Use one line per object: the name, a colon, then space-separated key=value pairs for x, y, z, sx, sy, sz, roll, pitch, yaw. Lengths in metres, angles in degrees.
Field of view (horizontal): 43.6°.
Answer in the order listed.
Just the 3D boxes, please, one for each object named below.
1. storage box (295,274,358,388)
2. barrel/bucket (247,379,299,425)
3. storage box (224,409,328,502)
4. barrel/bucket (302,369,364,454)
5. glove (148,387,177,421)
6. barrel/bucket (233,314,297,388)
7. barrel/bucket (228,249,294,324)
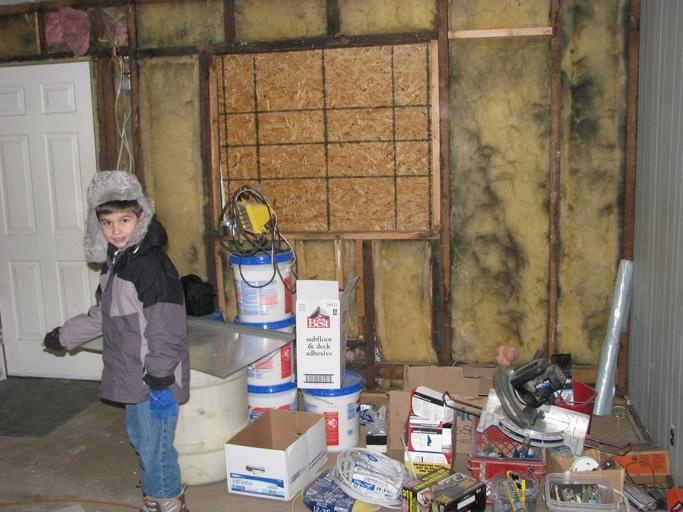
storage box: x=-0.142 y=0.564 z=6.210 sx=0.376 sy=0.778 sz=0.326 roll=0 pitch=7 yaw=1
barrel/bucket: x=-0.509 y=1.039 z=6.196 sx=0.280 sy=0.323 sz=0.280 roll=-1 pitch=-1 yaw=0
storage box: x=-0.438 y=1.351 z=5.897 sx=0.518 sy=0.499 sz=0.606 roll=3 pitch=7 yaw=23
barrel/bucket: x=-0.071 y=1.127 z=6.204 sx=0.457 sy=0.476 sz=0.452 roll=-1 pitch=-1 yaw=0
glove: x=-1.122 y=0.927 z=5.395 sx=0.191 sy=0.218 sz=0.142 roll=-4 pitch=8 yaw=-28
barrel/bucket: x=-0.550 y=0.682 z=6.204 sx=0.428 sy=0.436 sz=0.441 roll=0 pitch=1 yaw=0
barrel/bucket: x=-0.580 y=0.224 z=6.460 sx=0.481 sy=0.552 sz=0.492 roll=-2 pitch=0 yaw=0
